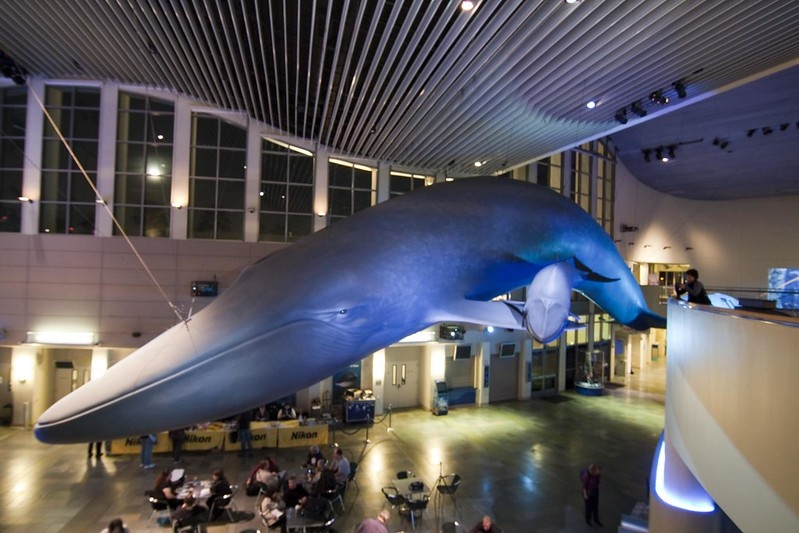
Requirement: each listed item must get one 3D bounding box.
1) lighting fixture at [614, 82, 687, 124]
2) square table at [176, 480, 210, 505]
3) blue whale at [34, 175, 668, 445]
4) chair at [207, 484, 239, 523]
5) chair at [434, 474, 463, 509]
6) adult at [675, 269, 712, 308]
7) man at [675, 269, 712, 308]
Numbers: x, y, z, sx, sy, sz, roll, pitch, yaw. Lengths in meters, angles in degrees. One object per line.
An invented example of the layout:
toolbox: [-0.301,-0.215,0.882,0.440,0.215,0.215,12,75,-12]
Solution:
lighting fixture: [7.708,-5.083,17.501,1.522,0.477,1.563,-20,-18,27]
square table: [-5.704,6.192,15.697,0.698,0.171,0.723,1,4,-2]
blue whale: [-1.101,0.717,12.006,10.521,5.141,1.613,0,12,-10]
chair: [-4.990,6.627,15.907,0.837,1.165,0.858,7,-18,-17]
chair: [1.436,6.521,16.751,0.857,1.265,1.078,-1,-12,9]
adult: [7.389,0.762,14.214,0.695,1.374,0.564,-8,5,9]
man: [7.389,0.768,14.220,0.695,1.389,0.588,-6,5,9]
